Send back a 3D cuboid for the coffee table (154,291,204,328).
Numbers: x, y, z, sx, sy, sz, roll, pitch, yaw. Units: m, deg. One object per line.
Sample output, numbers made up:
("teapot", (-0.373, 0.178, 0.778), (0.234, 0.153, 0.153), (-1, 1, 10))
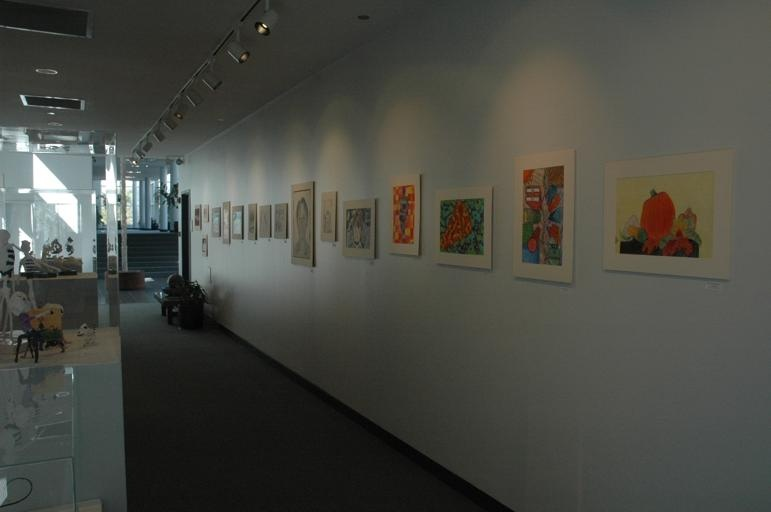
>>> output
("coffee table", (-4.457, 1.147, 11.521), (0.620, 0.709, 1.451), (-5, 8, -38))
